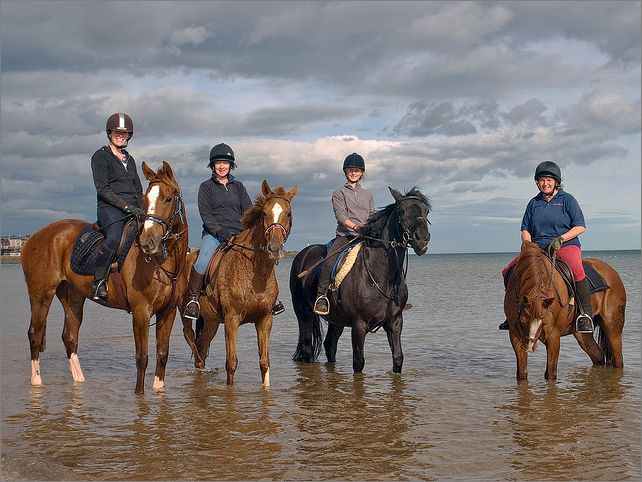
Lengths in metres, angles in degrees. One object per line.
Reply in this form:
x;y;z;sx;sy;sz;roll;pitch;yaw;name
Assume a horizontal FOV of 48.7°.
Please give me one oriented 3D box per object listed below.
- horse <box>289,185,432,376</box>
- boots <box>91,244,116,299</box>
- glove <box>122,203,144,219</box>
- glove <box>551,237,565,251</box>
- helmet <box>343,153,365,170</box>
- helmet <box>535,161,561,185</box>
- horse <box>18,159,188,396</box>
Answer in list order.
0.671;0.865;14.263;1.512;3.829;3.592;-2;3;-29;horse
-4.021;0.590;12.975;0.447;1.090;0.347;2;4;42;boots
-3.432;-0.597;12.870;0.358;0.118;0.292;16;4;30;glove
4.393;0.030;13.231;0.095;0.277;0.207;32;21;-37;glove
0.671;-1.641;14.493;0.373;0.339;0.574;-1;3;-3;helmet
4.315;-1.324;13.527;0.427;0.395;0.274;0;3;14;helmet
-3.871;0.689;13.171;3.393;4.188;1.281;1;3;32;horse
